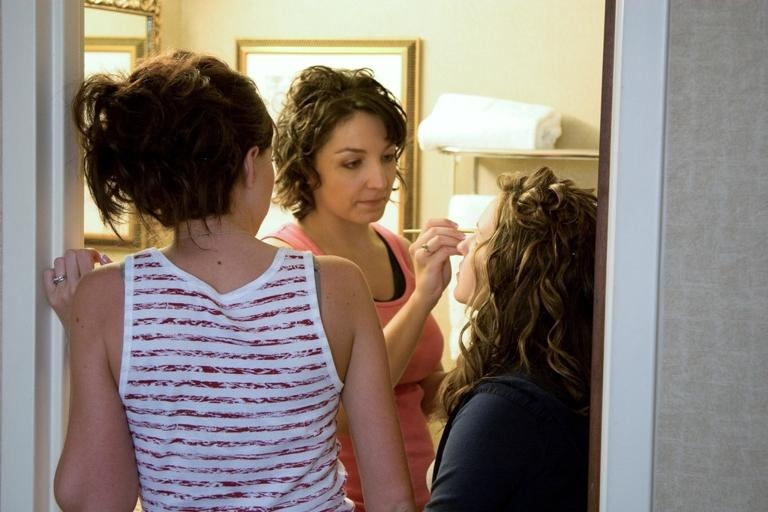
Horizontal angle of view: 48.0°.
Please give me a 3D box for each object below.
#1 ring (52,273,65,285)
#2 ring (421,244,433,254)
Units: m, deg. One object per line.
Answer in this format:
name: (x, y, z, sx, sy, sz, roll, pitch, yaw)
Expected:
ring: (-0.536, 0.039, 1.403, 0.018, 0.010, 0.015, -29, -2, -42)
ring: (0.087, -0.014, 1.774, 0.009, 0.020, 0.016, -32, -15, -8)
